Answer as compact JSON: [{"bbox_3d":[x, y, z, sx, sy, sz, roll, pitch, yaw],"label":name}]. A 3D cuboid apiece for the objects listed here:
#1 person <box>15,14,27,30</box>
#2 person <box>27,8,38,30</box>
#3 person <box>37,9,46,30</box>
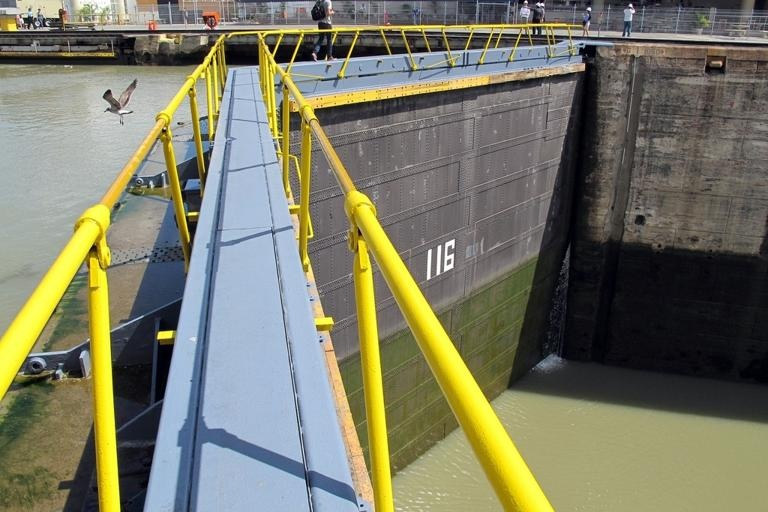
[{"bbox_3d":[-29.495,-19.169,46.715,0.623,1.039,2.117,-10,21,-29],"label":"person"},{"bbox_3d":[-27.956,-19.010,45.654,0.749,1.583,1.580,-10,21,-29],"label":"person"},{"bbox_3d":[-27.386,-18.997,45.854,0.484,1.276,1.569,-8,20,-25],"label":"person"}]
